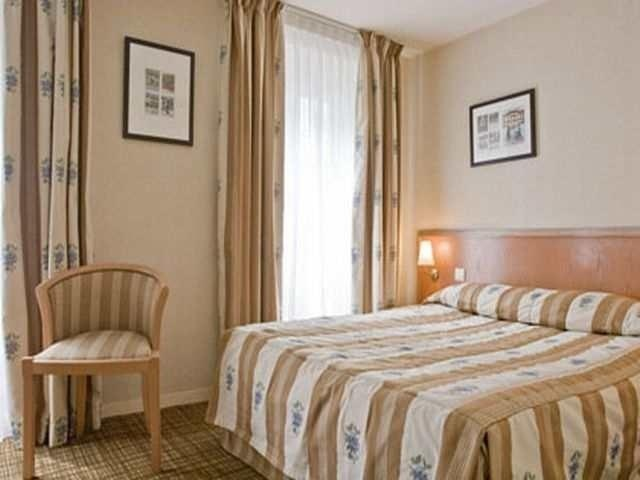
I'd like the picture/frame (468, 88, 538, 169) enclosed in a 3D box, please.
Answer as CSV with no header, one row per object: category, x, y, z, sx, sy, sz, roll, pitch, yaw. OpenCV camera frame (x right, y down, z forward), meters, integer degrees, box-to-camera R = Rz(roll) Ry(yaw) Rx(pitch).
picture/frame,1.639,-0.995,4.694,0.046,0.753,0.700,0,-2,-39

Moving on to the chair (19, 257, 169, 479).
chair,-1.444,0.822,3.469,0.919,1.204,0.694,-4,11,-17

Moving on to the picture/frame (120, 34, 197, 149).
picture/frame,-1.243,-1.163,4.155,0.546,0.859,0.033,4,-17,-27

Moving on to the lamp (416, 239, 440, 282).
lamp,1.054,0.221,5.236,0.208,0.388,0.183,4,-2,-5
